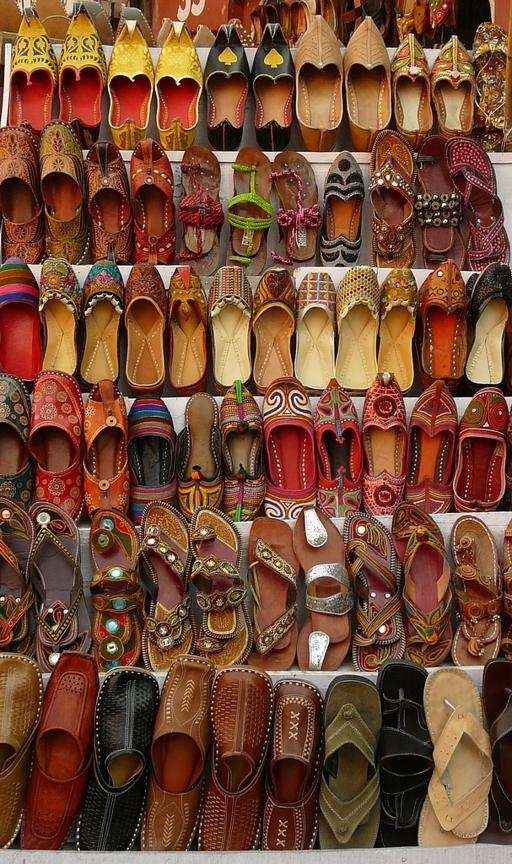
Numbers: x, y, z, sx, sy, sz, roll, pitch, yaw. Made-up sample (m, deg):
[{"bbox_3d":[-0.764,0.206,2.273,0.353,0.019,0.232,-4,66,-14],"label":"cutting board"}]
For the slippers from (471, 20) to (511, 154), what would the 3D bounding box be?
[{"bbox_3d":[1.025,-1.510,2.789,0.139,0.555,0.135,2,5,6],"label":"slippers"}]

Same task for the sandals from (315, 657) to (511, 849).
[{"bbox_3d":[0.312,0.703,1.338,0.262,0.433,0.094,0,-13,2],"label":"sandals"}]
